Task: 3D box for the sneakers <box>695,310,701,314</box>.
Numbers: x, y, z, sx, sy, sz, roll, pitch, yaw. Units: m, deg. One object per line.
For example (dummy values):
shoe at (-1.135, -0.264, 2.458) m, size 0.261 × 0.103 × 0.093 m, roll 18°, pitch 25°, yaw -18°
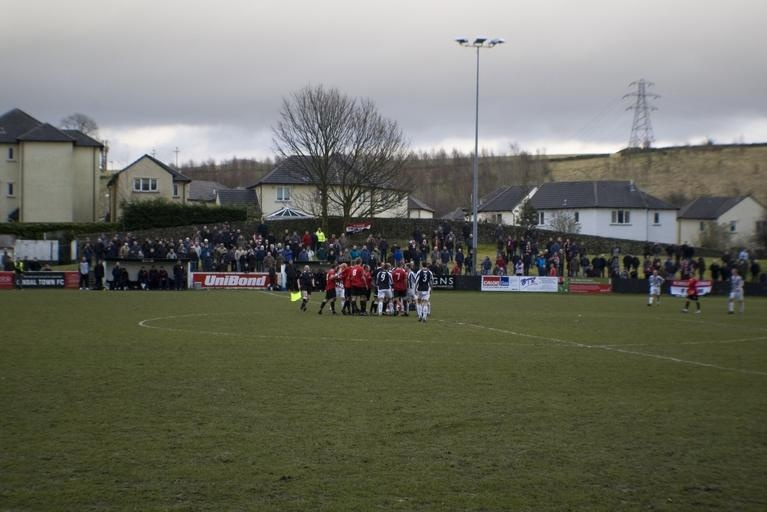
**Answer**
sneakers at (16.844, 2.992, 61.435) m, size 0.162 × 0.187 × 0.465 m, roll 1°, pitch 5°, yaw -10°
